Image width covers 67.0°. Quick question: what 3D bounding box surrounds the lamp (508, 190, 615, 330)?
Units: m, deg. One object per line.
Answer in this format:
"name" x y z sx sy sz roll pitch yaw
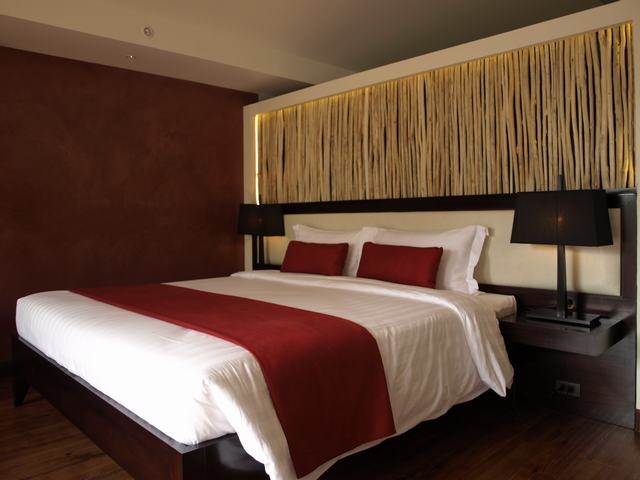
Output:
"lamp" 1.673 0.106 3.382 0.606 0.908 0.304 6 10 39

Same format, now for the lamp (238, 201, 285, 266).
"lamp" -0.619 -0.014 5.336 0.507 0.757 0.338 4 9 28
